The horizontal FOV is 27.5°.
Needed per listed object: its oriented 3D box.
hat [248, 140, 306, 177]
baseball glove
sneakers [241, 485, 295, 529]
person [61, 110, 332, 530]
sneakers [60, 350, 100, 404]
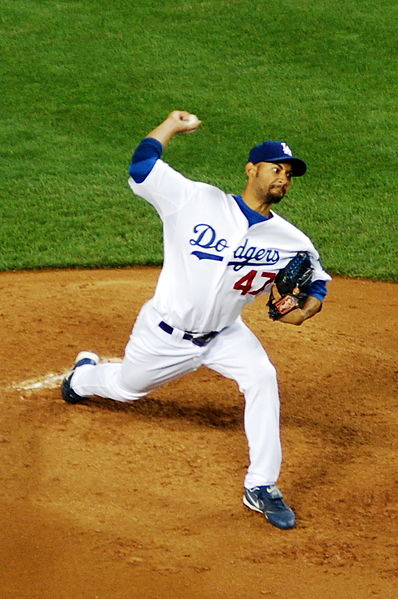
[{"bbox_3d":[0.478,-0.861,4.951,0.291,0.140,0.215,9,10,36],"label":"hat"},{"bbox_3d":[0.637,-0.062,5.146,0.206,0.409,0.241,30,26,19],"label":"baseball glove"},{"bbox_3d":[0.433,1.268,5.021,0.418,0.170,0.151,22,36,30],"label":"sneakers"},{"bbox_3d":[0.049,0.095,4.995,1.483,2.318,0.894,9,24,6],"label":"person"},{"bbox_3d":[-0.856,0.537,5.760,0.166,0.446,0.181,39,-21,-9],"label":"sneakers"}]
